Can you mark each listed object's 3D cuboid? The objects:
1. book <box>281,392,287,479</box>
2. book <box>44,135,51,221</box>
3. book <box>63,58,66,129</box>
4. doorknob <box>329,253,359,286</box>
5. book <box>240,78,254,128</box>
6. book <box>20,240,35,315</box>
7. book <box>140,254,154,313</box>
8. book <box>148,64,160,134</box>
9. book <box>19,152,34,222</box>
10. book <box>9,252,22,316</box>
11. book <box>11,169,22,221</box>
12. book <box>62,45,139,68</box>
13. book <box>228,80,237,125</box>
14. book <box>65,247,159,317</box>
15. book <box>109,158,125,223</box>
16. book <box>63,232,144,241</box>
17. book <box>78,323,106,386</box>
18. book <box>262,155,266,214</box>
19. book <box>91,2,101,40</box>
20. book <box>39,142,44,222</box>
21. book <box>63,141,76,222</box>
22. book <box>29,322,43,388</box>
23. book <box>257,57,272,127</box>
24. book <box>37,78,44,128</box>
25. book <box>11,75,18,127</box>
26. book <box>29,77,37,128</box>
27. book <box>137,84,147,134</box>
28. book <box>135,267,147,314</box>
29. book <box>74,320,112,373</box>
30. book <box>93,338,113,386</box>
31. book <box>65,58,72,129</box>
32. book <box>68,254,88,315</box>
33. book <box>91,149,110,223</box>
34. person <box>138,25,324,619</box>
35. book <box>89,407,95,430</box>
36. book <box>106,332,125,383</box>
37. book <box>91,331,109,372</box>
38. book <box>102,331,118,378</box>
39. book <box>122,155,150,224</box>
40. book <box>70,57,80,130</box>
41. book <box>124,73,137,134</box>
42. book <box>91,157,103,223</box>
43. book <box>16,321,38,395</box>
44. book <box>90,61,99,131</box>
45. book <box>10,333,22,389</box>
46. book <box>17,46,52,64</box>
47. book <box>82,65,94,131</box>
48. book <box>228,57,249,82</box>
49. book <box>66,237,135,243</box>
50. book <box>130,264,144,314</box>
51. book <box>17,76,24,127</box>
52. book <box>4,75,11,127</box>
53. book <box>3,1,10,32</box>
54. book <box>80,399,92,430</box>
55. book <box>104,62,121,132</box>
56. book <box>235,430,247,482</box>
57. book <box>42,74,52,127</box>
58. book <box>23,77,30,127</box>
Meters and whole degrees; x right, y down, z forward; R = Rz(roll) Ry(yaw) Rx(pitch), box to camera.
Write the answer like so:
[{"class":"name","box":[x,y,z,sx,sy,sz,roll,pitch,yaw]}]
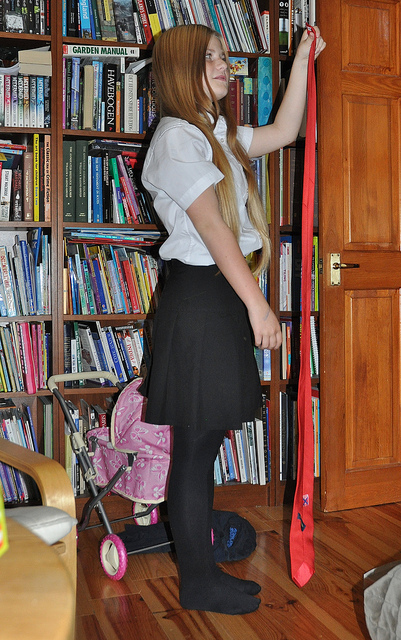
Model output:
[{"class":"book","box":[0.377,0.526,2.269,0.023,0.387,0.031,-1,-1,0]},{"class":"book","box":[-0.599,-0.563,1.973,0.025,0.335,0.031,-1,-1,-20]},{"class":"book","box":[-0.540,-0.906,1.995,0.012,0.263,0.049,-1,-1,-19]},{"class":"doorknob","box":[0.612,-0.222,2.163,0.139,0.098,0.044,-1,-1,-32]},{"class":"book","box":[0.203,-0.951,2.173,0.050,0.205,0.021,-1,-1,7]},{"class":"book","box":[-0.683,-0.169,1.983,0.050,0.288,0.028,-1,-1,-20]},{"class":"book","box":[-0.232,-0.151,2.141,0.020,0.169,0.212,-15,16,-8]},{"class":"book","box":[-0.194,-0.917,2.044,0.043,0.278,0.150,-1,-1,-5]},{"class":"book","box":[-0.687,-0.538,1.986,0.044,0.334,0.251,-1,4,-15]},{"class":"book","box":[-0.738,-0.137,1.998,0.027,0.293,0.029,-4,5,23]},{"class":"book","box":[-0.731,-0.498,1.999,0.042,0.196,0.064,-1,-1,-21]},{"class":"book","box":[-0.399,-1.070,2.033,0.297,0.061,0.109,-1,0,-11]},{"class":"book","box":[0.134,-0.954,2.143,0.024,0.177,0.067,-1,-1,21]},{"class":"book","box":[-0.363,-0.140,2.222,0.453,0.467,0.269,1,3,-11]},{"class":"book","box":[-0.351,-0.556,2.100,0.030,0.274,0.207,-12,15,-3]},{"class":"book","box":[-0.403,-0.347,2.077,0.222,0.026,0.176,-1,7,-15]},{"class":"book","box":[-0.446,0.138,2.068,0.040,0.254,0.213,-11,12,-13]},{"class":"book","box":[0.279,-0.601,2.212,0.020,0.244,0.040,-1,-1,8]},{"class":"book","box":[-0.415,-1.204,2.000,0.014,0.152,0.112,-9,20,-6]},{"class":"book","box":[-0.627,-0.552,1.985,0.018,0.306,0.040,-1,-1,-21]},{"class":"book","box":[-0.525,-0.561,2.018,0.051,0.307,0.053,-1,-1,-16]},{"class":"book","box":[-0.658,0.130,2.006,0.030,0.298,0.217,-3,9,-13]},{"class":"book","box":[0.276,-0.990,2.161,0.069,0.280,0.060,-1,-1,-7]},{"class":"book","box":[-0.623,-0.855,1.961,0.023,0.183,0.025,-1,-1,-25]},{"class":"book","box":[-0.719,-0.855,1.943,0.027,0.186,0.028,-1,-1,-17]},{"class":"book","box":[-0.650,-0.854,1.955,0.029,0.183,0.025,-1,-1,-20]},{"class":"book","box":[-0.245,-0.891,2.099,0.038,0.195,0.026,-1,-1,-1]},{"class":"book","box":[-0.256,-0.135,2.133,0.017,0.164,0.125,-14,32,4]},{"class":"book","box":[-0.456,0.097,2.176,0.141,0.222,0.080,-1,7,-30]},{"class":"book","box":[-0.398,0.160,2.056,0.019,0.203,0.149,-17,19,-9]},{"class":"book","box":[-0.524,-0.903,1.997,0.027,0.255,0.058,-1,-1,-19]},{"class":"book","box":[-0.503,-0.148,2.055,0.026,0.271,0.204,-12,8,1]},{"class":"book","box":[-0.430,-0.583,2.157,0.031,0.280,0.195,-4,14,-27]},{"class":"person","box":[0.071,-0.020,1.382,0.512,1.730,0.572,-1,-1,13]},{"class":"book","box":[-0.466,0.428,2.171,0.012,0.057,0.054,-1,9,-18]},{"class":"book","box":[-0.342,0.147,2.127,0.036,0.167,0.167,-14,40,-5]},{"class":"book","box":[-0.416,0.132,2.107,0.029,0.133,0.125,-12,-1,-13]},{"class":"book","box":[-0.383,0.137,2.108,0.032,0.151,0.143,-10,-8,-6]},{"class":"book","box":[-0.259,-0.509,2.001,0.037,0.260,0.293,-18,18,-8]},{"class":"book","box":[-0.500,-0.917,1.999,0.030,0.284,0.207,-1,16,-13]},{"class":"book","box":[-0.290,-0.903,2.081,0.051,0.232,0.030,-1,-1,-14]},{"class":"book","box":[-0.426,-0.539,2.063,0.046,0.258,0.022,-1,-1,-10]},{"class":"book","box":[-0.686,0.156,1.971,0.034,0.237,0.142,0,8,-22]},{"class":"book","box":[-0.428,-0.919,2.028,0.031,0.321,0.223,-1,11,-14]},{"class":"book","box":[-0.729,0.148,1.981,0.027,0.222,0.018,-3,13,3]},{"class":"book","box":[-0.636,-1.015,1.936,0.124,0.066,0.022,-1,-1,-12]},{"class":"book","box":[-0.449,-0.896,2.019,0.044,0.248,0.036,-1,-1,-17]},{"class":"book","box":[0.167,-1.090,2.173,0.083,0.107,0.047,-1,-1,1]},{"class":"book","box":[-0.444,-0.334,2.077,0.151,0.017,0.089,0,8,-20]},{"class":"book","box":[-0.272,-0.141,2.125,0.021,0.197,0.148,-14,20,5]},{"class":"book","box":[-0.695,-0.853,1.945,0.022,0.183,0.030,-1,-1,-18]},{"class":"book","box":[-0.744,-0.855,1.939,0.025,0.185,0.026,-1,-1,-21]},{"class":"book","box":[-0.734,-1.155,1.901,0.028,0.110,0.016,-1,-1,-7]},{"class":"book","box":[-0.508,0.419,2.221,0.013,0.078,0.096,-10,16,-19]},{"class":"book","box":[-0.364,-0.920,2.058,0.079,0.250,0.253,3,8,-6]},{"class":"book","box":[0.178,0.605,2.234,0.053,0.232,0.023,-1,-1,-34]},{"class":"book","box":[-0.598,-0.861,1.962,0.047,0.200,0.016,-1,-1,9]},{"class":"book","box":[-0.674,-0.852,1.949,0.021,0.178,0.029,-1,-1,-16]}]
